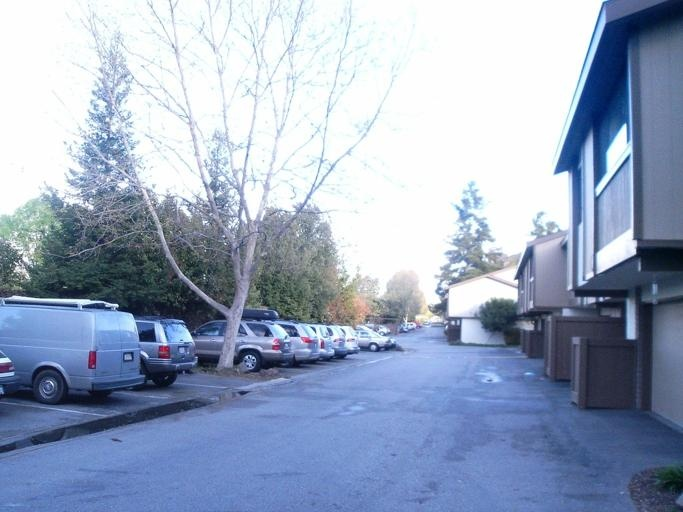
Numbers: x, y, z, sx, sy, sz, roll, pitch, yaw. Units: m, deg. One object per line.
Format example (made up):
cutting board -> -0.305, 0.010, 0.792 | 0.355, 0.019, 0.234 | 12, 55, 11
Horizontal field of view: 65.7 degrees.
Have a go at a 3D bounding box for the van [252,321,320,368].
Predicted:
van -> -2.632, 3.909, 24.361 | 2.602, 1.269, 1.293 | 1, -4, 22

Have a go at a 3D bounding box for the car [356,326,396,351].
car -> 2.280, 6.697, 42.314 | 2.923, 1.121, 1.500 | 2, -3, 23

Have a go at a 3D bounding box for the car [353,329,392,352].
car -> 2.313, 6.785, 42.241 | 2.640, 1.042, 1.427 | 3, -3, 25

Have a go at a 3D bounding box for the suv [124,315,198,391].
suv -> -5.845, 2.749, 16.198 | 2.231, 1.254, 1.241 | 3, -3, 26

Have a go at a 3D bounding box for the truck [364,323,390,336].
truck -> 3.658, 8.337, 57.160 | 2.492, 1.282, 1.629 | 21, -1, 19

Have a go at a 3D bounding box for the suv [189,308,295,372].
suv -> -4.024, 3.418, 21.544 | 3.790, 1.669, 1.922 | 3, -6, 17
